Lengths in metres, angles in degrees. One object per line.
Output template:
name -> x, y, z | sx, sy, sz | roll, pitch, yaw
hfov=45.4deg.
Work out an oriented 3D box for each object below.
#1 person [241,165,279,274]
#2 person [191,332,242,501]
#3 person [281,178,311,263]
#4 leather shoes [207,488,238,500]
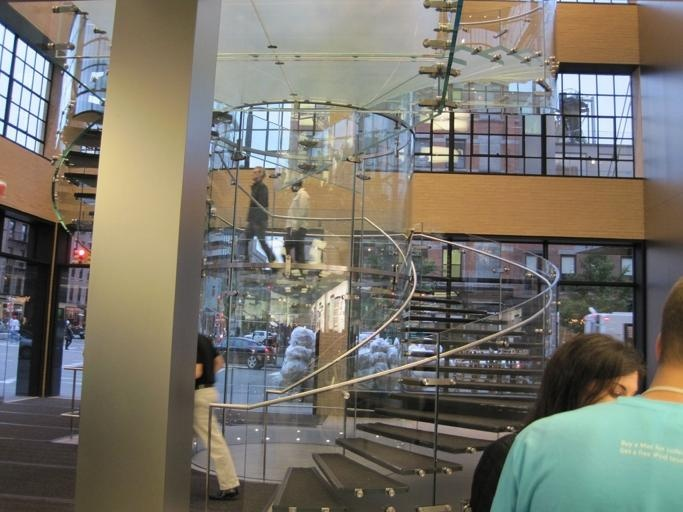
person -> -0.934, -0.469, 9.337 | 0.382, 1.058, 0.258 | 2, -9, -4
person -> -1.223, 1.525, 7.647 | 0.408, 1.555, 0.766 | 1, -9, 4
person -> -0.505, -0.401, 9.297 | 0.266, 0.919, 0.208 | 2, -9, -5
leather shoes -> -1.170, 2.293, 7.877 | 0.307, 0.111, 0.097 | 8, -11, -20
